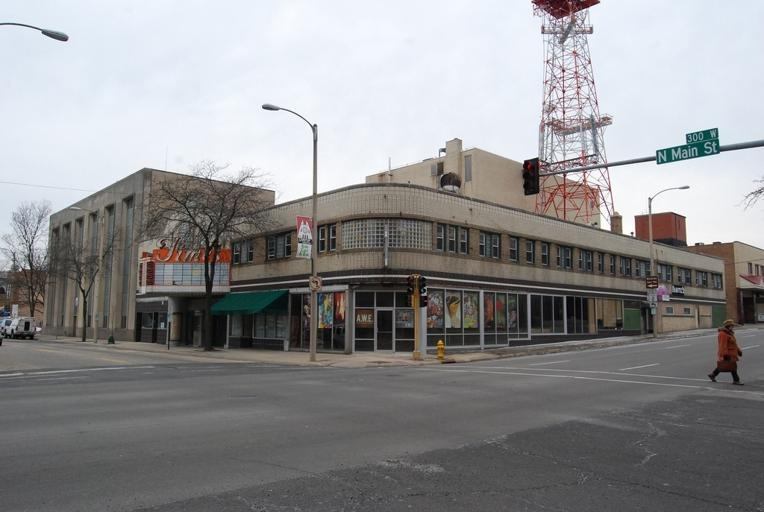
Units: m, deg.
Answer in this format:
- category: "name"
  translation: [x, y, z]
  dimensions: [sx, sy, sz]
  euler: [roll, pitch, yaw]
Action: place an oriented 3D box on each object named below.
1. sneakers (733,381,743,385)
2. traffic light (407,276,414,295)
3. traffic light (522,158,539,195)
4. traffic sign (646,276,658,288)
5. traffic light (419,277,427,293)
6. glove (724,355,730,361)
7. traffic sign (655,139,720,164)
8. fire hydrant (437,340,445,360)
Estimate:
- category: "sneakers"
  translation: [12.244, 4.357, 21.078]
  dimensions: [0.269, 0.120, 0.427]
  euler: [-6, -11, 29]
- category: "traffic light"
  translation: [1.502, 1.530, 32.220]
  dimensions: [0.242, 0.988, 0.558]
  euler: [3, -9, -21]
- category: "traffic light"
  translation: [6.202, -3.369, 25.530]
  dimensions: [0.587, 1.445, 0.859]
  euler: [-2, -9, 9]
- category: "traffic sign"
  translation: [22.396, 2.113, 50.808]
  dimensions: [0.857, 0.865, 0.492]
  euler: [-6, -12, 25]
- category: "traffic light"
  translation: [2.122, 1.456, 32.055]
  dimensions: [0.189, 0.707, 0.664]
  euler: [0, 3, 15]
- category: "glove"
  translation: [11.928, 3.522, 21.199]
  dimensions: [0.241, 0.248, 0.138]
  euler: [0, -1, 10]
- category: "traffic sign"
  translation: [10.771, -3.686, 21.595]
  dimensions: [2.035, 0.876, 1.233]
  euler: [-6, -11, 28]
- category: "fire hydrant"
  translation: [3.058, 4.892, 31.830]
  dimensions: [0.397, 1.014, 0.827]
  euler: [-1, -9, 3]
